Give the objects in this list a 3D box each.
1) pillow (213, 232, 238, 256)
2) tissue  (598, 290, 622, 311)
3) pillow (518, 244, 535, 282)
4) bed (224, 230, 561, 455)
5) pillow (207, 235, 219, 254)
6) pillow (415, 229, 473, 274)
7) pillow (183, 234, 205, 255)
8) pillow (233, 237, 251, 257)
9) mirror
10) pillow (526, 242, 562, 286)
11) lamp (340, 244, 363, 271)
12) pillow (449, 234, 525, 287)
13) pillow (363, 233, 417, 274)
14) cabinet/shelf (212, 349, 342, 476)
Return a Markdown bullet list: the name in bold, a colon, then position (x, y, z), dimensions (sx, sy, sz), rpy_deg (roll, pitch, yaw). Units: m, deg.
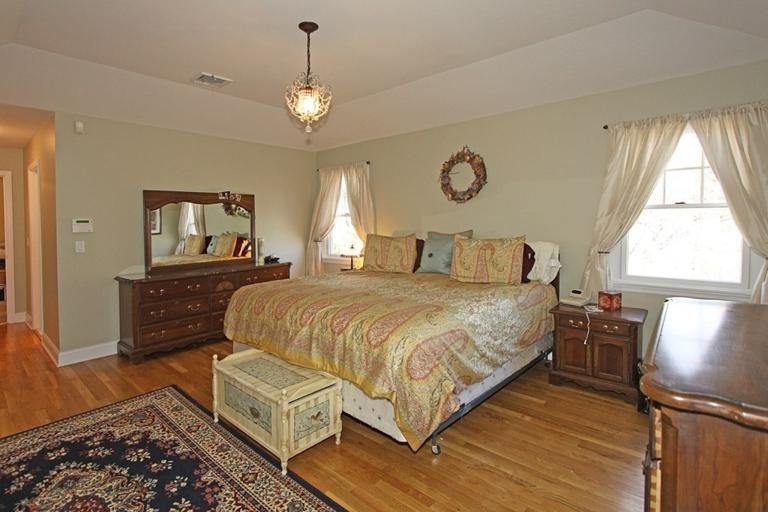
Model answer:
- **pillow**: position (-2.236, -0.167, 6.845), dimensions (0.313, 0.287, 0.093), rpy_deg (2, -13, 34)
- **tissue **: position (2.406, 0.480, 5.198), dimensions (0.203, 0.200, 0.207), rpy_deg (25, -18, -36)
- **pillow**: position (1.679, 0.085, 5.674), dimensions (0.132, 0.388, 0.284), rpy_deg (-2, -7, 31)
- **bed**: position (0.529, 0.738, 4.796), dimensions (2.080, 0.851, 2.087), rpy_deg (4, 5, 43)
- **pillow**: position (-2.387, -0.158, 6.746), dimensions (0.087, 0.209, 0.211), rpy_deg (12, 10, -19)
- **pillow**: position (0.734, -0.017, 6.264), dimensions (0.355, 0.550, 0.676), rpy_deg (7, -3, -40)
- **pillow**: position (-2.566, -0.165, 6.578), dimensions (0.056, 0.274, 0.296), rpy_deg (4, 5, 34)
- **pillow**: position (-2.062, -0.139, 7.071), dimensions (0.244, 0.258, 0.078), rpy_deg (16, -11, 6)
- **mirror**: position (-2.554, -0.302, 6.634), dimensions (0.930, 0.610, 0.040), rpy_deg (-3, -1, -42)
- **pillow**: position (1.881, 0.080, 5.663), dimensions (0.464, 0.445, 0.141), rpy_deg (7, -4, 27)
- **lamp**: position (-0.484, 0.008, 7.402), dimensions (0.397, 0.445, 0.391), rpy_deg (1, 0, -34)
- **pillow**: position (1.235, 0.083, 5.723), dimensions (0.917, 0.589, 0.320), rpy_deg (3, -19, 37)
- **pillow**: position (0.110, -0.050, 6.468), dimensions (0.645, 0.532, 0.184), rpy_deg (2, -20, 37)
- **cabinet/shelf**: position (-1.002, 1.373, 4.535), dimensions (0.687, 0.687, 1.221), rpy_deg (-5, 9, -43)
